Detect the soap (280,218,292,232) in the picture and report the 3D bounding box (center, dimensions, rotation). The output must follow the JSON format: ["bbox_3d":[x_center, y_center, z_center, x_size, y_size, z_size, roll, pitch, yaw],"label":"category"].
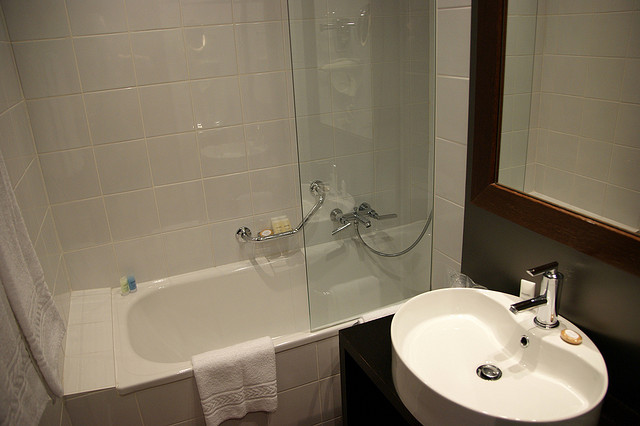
[{"bbox_3d":[-0.232,0.088,3.154,0.070,0.104,0.072,-17,24,-22],"label":"soap"}]

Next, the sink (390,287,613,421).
[{"bbox_3d":[0.661,0.572,1.787,0.767,0.233,0.595,-1,29,8],"label":"sink"}]

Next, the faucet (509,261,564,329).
[{"bbox_3d":[0.862,0.343,1.804,0.247,0.289,0.096,-13,24,-19],"label":"faucet"}]
